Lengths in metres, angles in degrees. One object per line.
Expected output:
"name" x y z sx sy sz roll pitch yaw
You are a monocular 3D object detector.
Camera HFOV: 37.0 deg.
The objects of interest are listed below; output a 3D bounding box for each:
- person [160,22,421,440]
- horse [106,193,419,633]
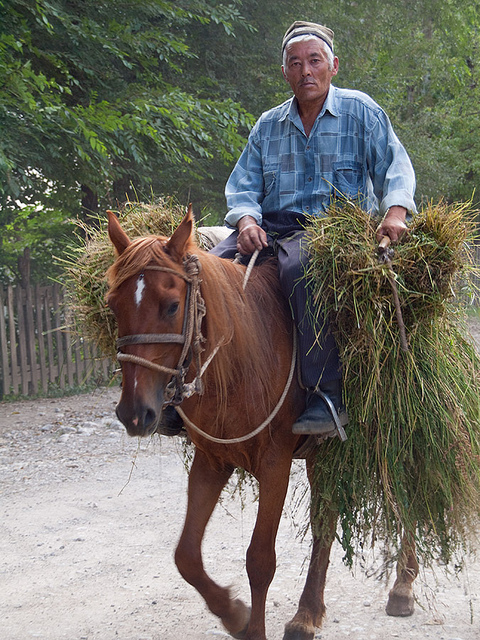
"person" 0.282 -0.468 3.565 1.229 1.872 1.021 2 10 15
"horse" -0.074 0.521 3.402 1.003 1.990 1.778 0 5 -2
